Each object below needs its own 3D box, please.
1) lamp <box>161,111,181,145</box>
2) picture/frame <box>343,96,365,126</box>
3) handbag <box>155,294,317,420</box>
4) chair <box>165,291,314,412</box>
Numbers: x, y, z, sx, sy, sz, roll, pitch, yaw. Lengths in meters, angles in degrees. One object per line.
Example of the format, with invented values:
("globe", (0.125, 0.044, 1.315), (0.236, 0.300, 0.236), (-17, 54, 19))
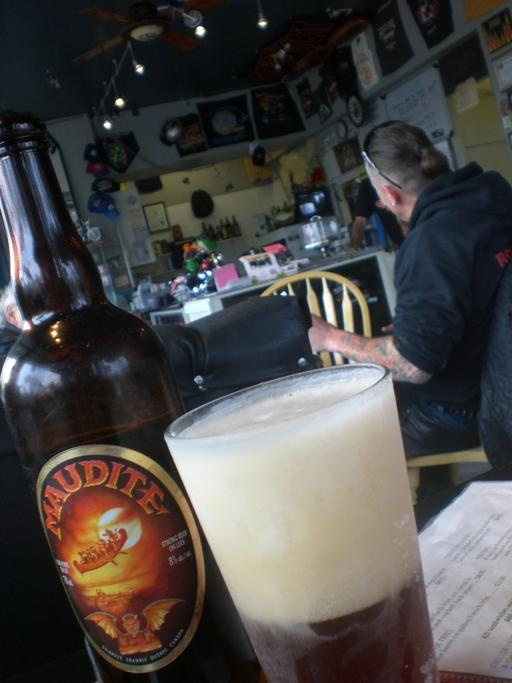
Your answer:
("lamp", (-1.218, -3.054, 7.666), (0.332, 0.295, 0.114), (-17, 26, -6))
("picture/frame", (1.327, -3.081, 7.077), (0.083, 0.322, 0.334), (-21, 24, -12))
("handbag", (-0.100, 0.052, 1.272), (0.293, 0.300, 0.255), (-3, -13, -38))
("chair", (-0.105, 0.044, 1.267), (0.288, 0.297, 0.252), (-2, -13, -40))
